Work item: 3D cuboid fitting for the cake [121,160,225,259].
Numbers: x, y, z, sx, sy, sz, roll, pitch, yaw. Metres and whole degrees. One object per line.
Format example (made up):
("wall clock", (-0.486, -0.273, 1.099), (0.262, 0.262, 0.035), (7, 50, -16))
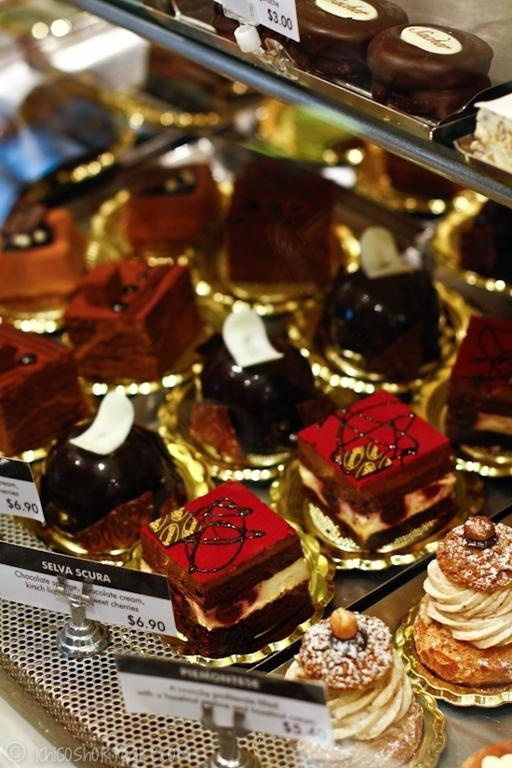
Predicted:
("cake", (-0.318, -0.685, 2.516), (0.405, 0.293, 0.330), (-12, 30, -8))

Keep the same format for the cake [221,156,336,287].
("cake", (0.052, -0.416, 1.707), (0.343, 0.272, 0.605), (1, 31, 1))

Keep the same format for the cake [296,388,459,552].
("cake", (0.255, 0.192, 1.563), (0.340, 0.217, 0.329), (-27, 45, -26))

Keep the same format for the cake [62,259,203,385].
("cake", (-0.364, -0.171, 1.940), (0.272, 0.262, 0.254), (-29, 40, -10))

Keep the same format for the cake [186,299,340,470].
("cake", (0.041, 0.052, 1.872), (0.441, 0.384, 0.422), (-6, 45, 4))

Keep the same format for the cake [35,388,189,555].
("cake", (-0.325, 0.245, 1.650), (0.391, 0.265, 0.386), (12, 36, 11))

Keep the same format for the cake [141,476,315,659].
("cake", (-0.062, 0.412, 1.360), (0.309, 0.232, 0.299), (-25, 40, -29))
